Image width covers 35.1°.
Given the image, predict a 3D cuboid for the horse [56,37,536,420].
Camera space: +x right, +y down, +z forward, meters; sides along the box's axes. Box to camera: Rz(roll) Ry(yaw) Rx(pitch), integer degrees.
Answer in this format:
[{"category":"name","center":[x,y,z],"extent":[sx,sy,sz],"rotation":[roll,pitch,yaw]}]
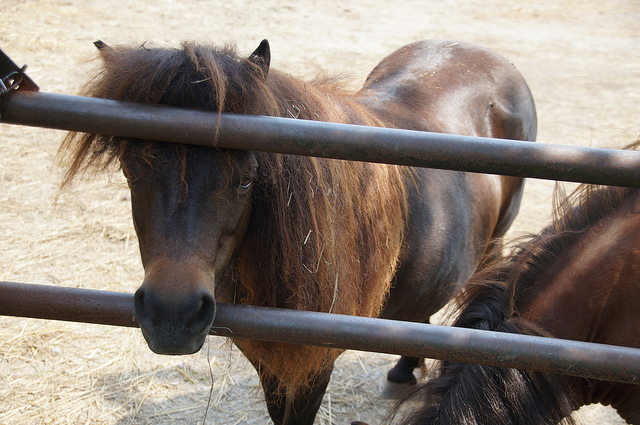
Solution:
[{"category":"horse","center":[0.040,0.121,6.872],"extent":[2.955,2.559,1.894],"rotation":[-21,42,-34]}]
